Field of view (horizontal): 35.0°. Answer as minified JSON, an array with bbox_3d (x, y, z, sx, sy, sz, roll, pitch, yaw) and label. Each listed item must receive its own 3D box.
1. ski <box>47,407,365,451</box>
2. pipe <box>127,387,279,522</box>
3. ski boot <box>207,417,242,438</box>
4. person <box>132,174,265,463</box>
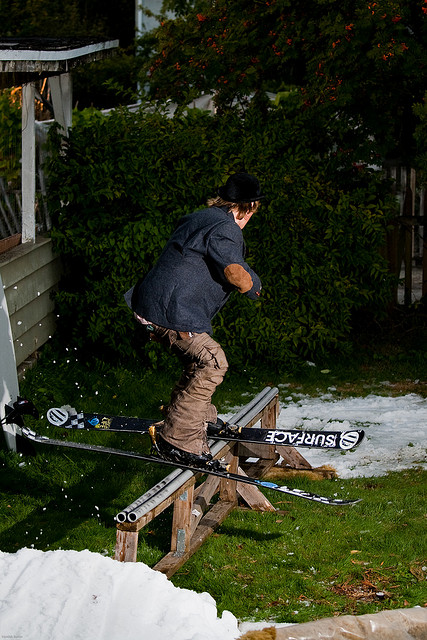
[{"bbox_3d":[0.002,0.673,4.041,1.964,0.102,0.221,7,-5,-21],"label":"ski"},{"bbox_3d":[0.026,0.737,3.992,0.083,0.093,2.201,0,6,20],"label":"pipe"},{"bbox_3d":[0.057,0.662,4.205,0.261,0.097,0.088,-1,41,17],"label":"ski boot"},{"bbox_3d":[-0.095,-0.009,3.710,0.740,1.573,0.449,-2,6,3],"label":"person"}]
